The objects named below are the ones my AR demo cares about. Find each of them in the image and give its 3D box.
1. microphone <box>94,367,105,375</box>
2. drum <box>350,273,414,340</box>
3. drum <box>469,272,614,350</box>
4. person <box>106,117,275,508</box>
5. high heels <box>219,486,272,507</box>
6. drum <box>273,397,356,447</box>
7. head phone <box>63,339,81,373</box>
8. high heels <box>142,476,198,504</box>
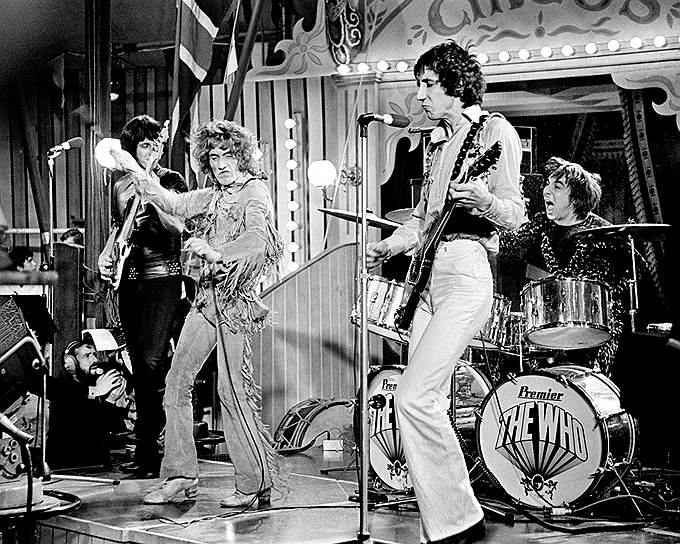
[{"bbox_3d":[-1.524,0.630,6.456,0.041,0.045,0.046,0,-6,11],"label":"microphone"},{"bbox_3d":[0.250,0.188,5.417,0.300,0.245,0.324,20,-10,4],"label":"drum"},{"bbox_3d":[1.156,0.274,5.613,0.615,0.252,0.454,-9,-32,21],"label":"drum"},{"bbox_3d":[-0.644,0.200,5.097,0.772,1.607,0.579,2,-1,7],"label":"person"},{"bbox_3d":[-0.470,1.124,5.094,0.222,0.106,0.097,9,-14,-23],"label":"high heels"},{"bbox_3d":[-0.184,1.056,7.120,0.537,0.282,0.362,3,-1,-7],"label":"drum"},{"bbox_3d":[-1.689,0.540,6.438,0.091,0.234,0.185,1,-9,4],"label":"head phone"},{"bbox_3d":[-0.836,1.096,5.150,0.301,0.151,0.116,6,-7,-20],"label":"high heels"}]
